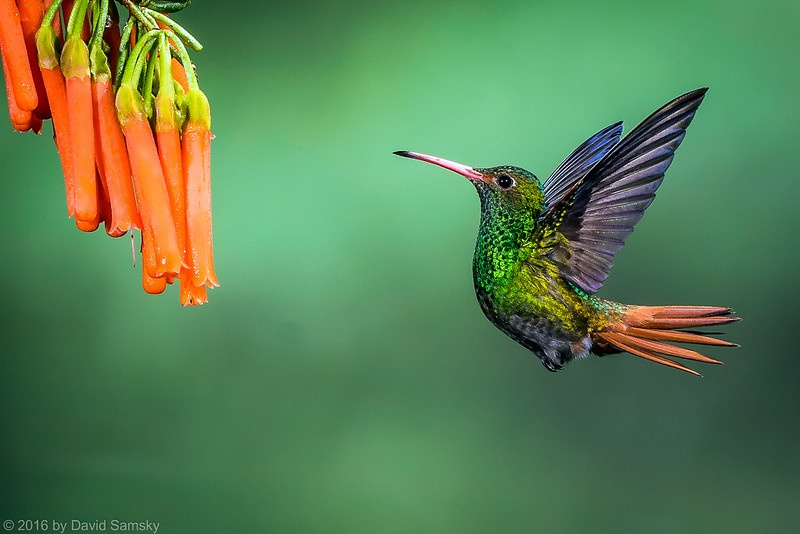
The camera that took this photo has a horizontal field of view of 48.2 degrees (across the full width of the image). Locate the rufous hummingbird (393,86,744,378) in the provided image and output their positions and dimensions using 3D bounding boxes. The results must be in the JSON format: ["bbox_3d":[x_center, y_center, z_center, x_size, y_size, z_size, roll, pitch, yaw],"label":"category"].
[{"bbox_3d":[0.440,-0.049,2.174,0.775,0.736,0.590,6,-91,-1],"label":"rufous hummingbird"}]
